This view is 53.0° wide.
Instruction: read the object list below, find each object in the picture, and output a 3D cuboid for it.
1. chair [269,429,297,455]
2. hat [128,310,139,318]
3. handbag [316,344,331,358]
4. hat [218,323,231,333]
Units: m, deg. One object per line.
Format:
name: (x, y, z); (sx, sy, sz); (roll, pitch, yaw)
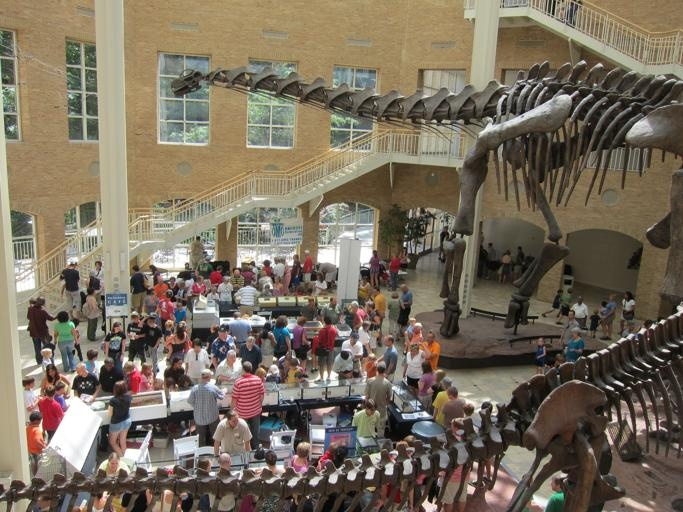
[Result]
chair: (-1.013, 3.117, 11.582); (0.341, 0.544, 0.365); (0, 12, -12)
hat: (-4.780, 1.286, 15.646); (0.226, 0.136, 0.347); (14, -11, 4)
handbag: (-0.400, 2.007, 14.673); (0.234, 0.260, 0.178); (5, -7, 1)
hat: (-2.388, 1.420, 13.778); (0.172, 0.108, 0.239); (5, -23, 0)
